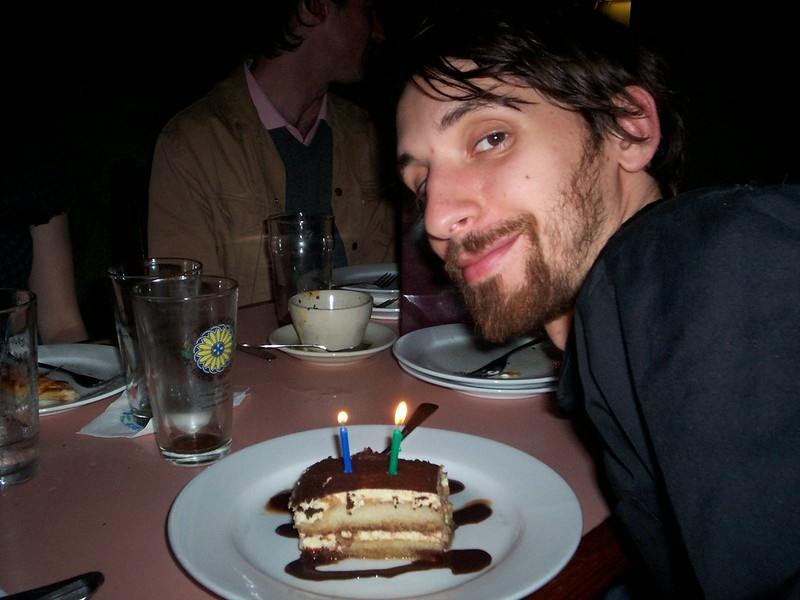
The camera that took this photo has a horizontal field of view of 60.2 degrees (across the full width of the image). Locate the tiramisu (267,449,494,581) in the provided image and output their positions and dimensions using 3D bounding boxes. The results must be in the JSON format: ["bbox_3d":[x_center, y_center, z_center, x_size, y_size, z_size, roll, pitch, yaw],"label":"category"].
[{"bbox_3d":[-0.038,0.390,1.280,0.262,0.081,0.215,-2,15,-9],"label":"tiramisu"}]

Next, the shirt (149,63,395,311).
[{"bbox_3d":[-0.587,-0.535,3.278,1.107,0.934,0.558,-19,34,-30],"label":"shirt"}]

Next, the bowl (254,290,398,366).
[{"bbox_3d":[-0.202,0.072,1.970,0.368,0.166,0.292,-6,14,-3],"label":"bowl"}]
